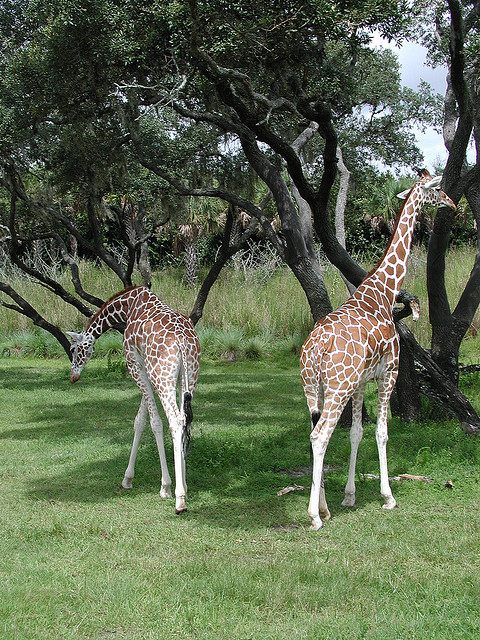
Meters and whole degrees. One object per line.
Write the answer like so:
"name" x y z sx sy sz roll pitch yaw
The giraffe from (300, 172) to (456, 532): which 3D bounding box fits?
"giraffe" 1.108 0.193 5.152 0.571 2.794 1.881 1 0 33
